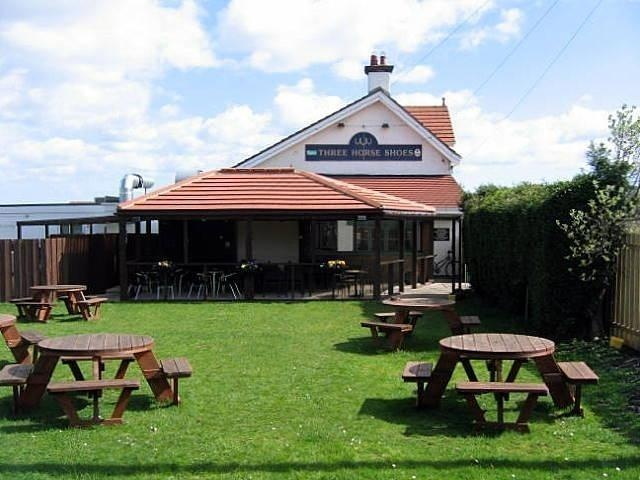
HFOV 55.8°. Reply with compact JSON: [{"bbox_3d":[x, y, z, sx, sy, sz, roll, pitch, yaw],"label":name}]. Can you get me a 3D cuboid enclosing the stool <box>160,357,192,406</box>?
[{"bbox_3d":[-2.164,2.051,8.993,0.331,0.429,0.639,13,2,-33],"label":"stool"}]
